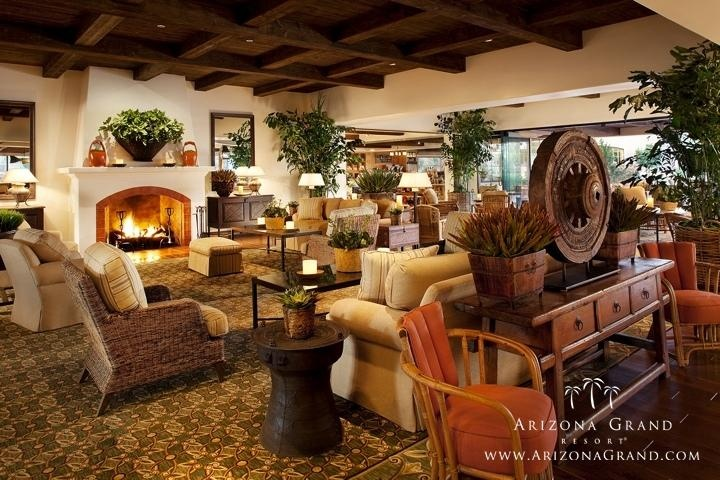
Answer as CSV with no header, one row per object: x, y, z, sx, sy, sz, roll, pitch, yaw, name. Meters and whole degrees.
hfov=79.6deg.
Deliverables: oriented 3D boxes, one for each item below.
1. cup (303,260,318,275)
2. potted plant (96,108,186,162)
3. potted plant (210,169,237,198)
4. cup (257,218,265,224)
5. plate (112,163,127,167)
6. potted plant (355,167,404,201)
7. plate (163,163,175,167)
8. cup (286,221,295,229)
-0.522,0.282,4.647,0.160,0.110,0.158,0,5,0,cup
-4.610,-2.139,9.149,1.232,0.782,1.254,6,8,44,potted plant
-3.249,-1.358,10.333,0.665,0.610,0.644,2,-2,-37,potted plant
-1.831,-0.360,8.115,0.158,0.109,0.156,0,-4,0,cup
-4.928,-1.548,8.879,0.112,0.031,0.111,-2,-3,28,plate
0.428,-1.319,9.684,0.903,0.579,0.858,0,1,-15,potted plant
-4.132,-1.643,9.395,0.239,0.078,0.212,-8,15,-25,plate
-1.209,-0.266,7.599,0.146,0.132,0.134,0,-1,0,cup
